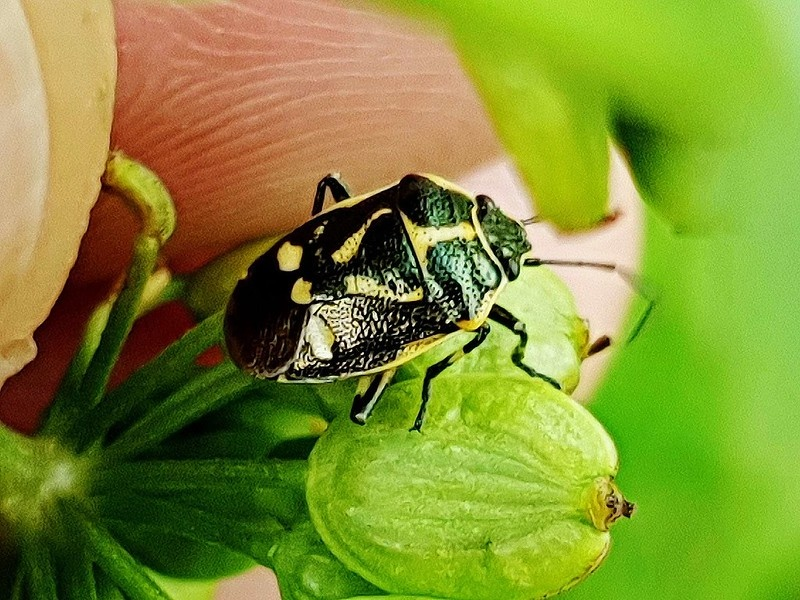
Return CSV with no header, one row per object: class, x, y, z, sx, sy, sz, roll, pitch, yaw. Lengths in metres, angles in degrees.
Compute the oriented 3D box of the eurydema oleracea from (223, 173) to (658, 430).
eurydema oleracea,-0.006,0.004,0.893,0.338,0.110,0.226,-24,53,-18
